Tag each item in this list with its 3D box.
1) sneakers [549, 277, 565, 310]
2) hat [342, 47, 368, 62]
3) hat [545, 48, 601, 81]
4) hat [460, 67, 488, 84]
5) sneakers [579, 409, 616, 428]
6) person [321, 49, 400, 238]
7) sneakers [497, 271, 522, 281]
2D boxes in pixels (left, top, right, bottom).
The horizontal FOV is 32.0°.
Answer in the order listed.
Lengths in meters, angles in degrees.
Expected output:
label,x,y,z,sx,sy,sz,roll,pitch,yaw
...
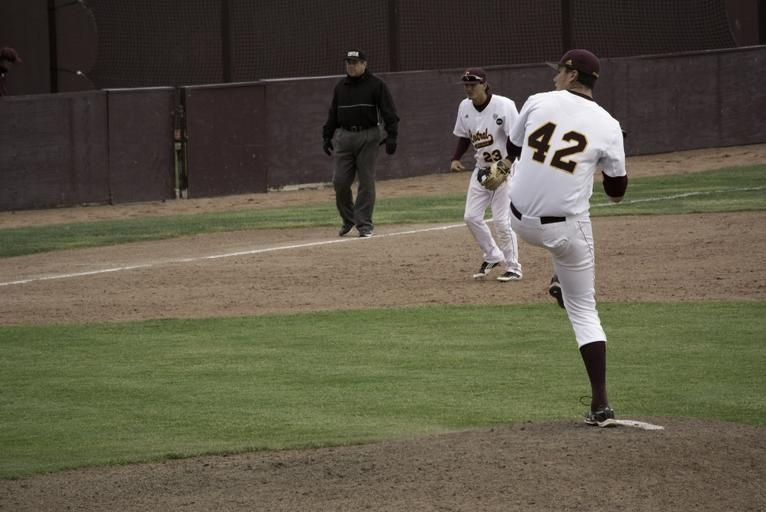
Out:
label,x,y,z,sx,sy,sz,roll,pitch,yaw
sneakers,1.825,0.365,14.028,0.161,0.416,0.179,-9,-16,14
hat,-0.382,-3.034,20.289,0.342,0.172,0.461,3,5,15
hat,1.987,-1.991,13.813,0.518,0.231,0.329,7,8,15
hat,1.182,-2.336,17.386,0.366,0.167,0.274,7,16,14
sneakers,2.168,1.644,13.317,0.321,0.140,0.139,2,4,37
person,-0.327,-1.687,20.304,1.146,2.850,0.695,-3,10,5
sneakers,1.703,0.287,17.693,0.320,0.122,0.129,-1,2,-12
